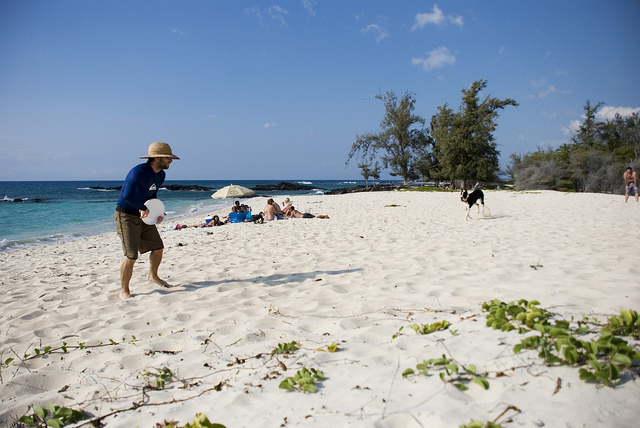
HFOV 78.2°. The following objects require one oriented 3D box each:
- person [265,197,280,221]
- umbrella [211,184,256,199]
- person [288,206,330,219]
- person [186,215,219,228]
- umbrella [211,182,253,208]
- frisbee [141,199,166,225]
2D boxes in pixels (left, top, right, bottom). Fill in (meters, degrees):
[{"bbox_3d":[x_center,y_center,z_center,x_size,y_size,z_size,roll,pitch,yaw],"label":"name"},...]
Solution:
[{"bbox_3d":[-1.837,-0.177,14.531,0.519,0.797,0.936,-4,9,1],"label":"person"},{"bbox_3d":[-3.413,-0.855,15.621,1.333,0.556,1.651,-5,9,-8],"label":"umbrella"},{"bbox_3d":[-0.437,0.042,14.162,1.352,0.501,0.469,5,11,18],"label":"person"},{"bbox_3d":[-4.144,0.290,14.313,1.162,0.391,0.544,-4,9,15],"label":"person"},{"bbox_3d":[-3.395,-0.836,15.390,1.223,0.794,1.090,-3,6,-1],"label":"umbrella"},{"bbox_3d":[-2.649,-0.023,6.290,0.081,0.374,0.386,13,4,35],"label":"frisbee"}]
